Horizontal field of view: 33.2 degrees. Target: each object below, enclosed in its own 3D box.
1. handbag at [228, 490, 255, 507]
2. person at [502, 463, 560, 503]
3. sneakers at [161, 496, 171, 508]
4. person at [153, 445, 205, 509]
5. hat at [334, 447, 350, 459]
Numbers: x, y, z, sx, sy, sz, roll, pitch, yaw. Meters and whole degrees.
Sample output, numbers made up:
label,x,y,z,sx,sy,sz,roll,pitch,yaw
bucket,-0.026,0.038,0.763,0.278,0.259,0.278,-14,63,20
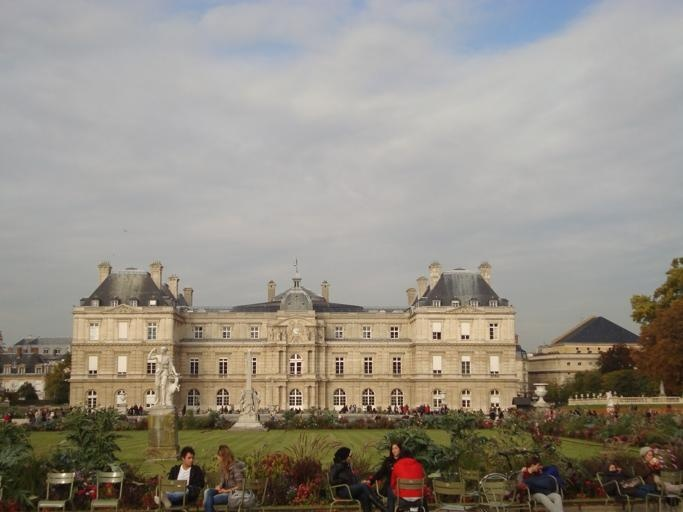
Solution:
label,x,y,z,sx,sy,sz,roll,pitch,yaw
handbag,-3.703,9.014,41.968,0.717,0.291,0.690,-2,-56,-6
person,7.152,8.465,42.645,1.751,0.819,1.230,0,-11,-10
sneakers,-6.462,9.157,42.160,0.249,0.466,0.200,-24,3,10
person,-5.937,8.286,42.454,1.632,2.231,1.101,0,-12,-9
hat,-0.046,7.449,42.658,0.413,0.481,0.526,14,-10,-39
